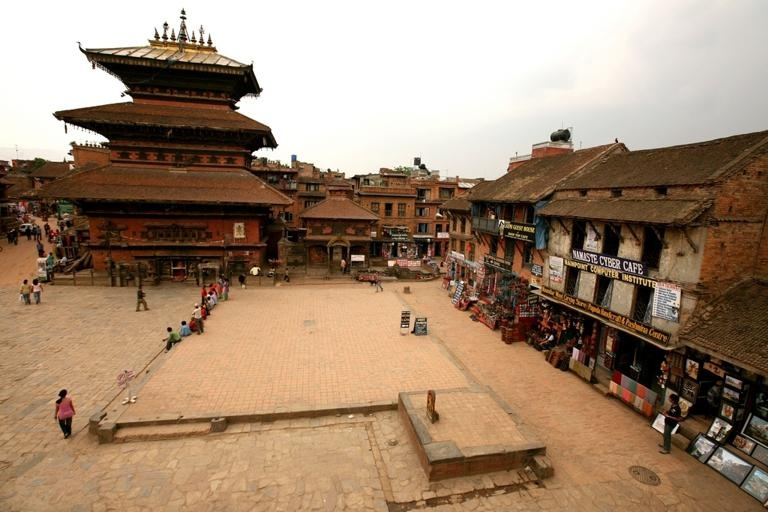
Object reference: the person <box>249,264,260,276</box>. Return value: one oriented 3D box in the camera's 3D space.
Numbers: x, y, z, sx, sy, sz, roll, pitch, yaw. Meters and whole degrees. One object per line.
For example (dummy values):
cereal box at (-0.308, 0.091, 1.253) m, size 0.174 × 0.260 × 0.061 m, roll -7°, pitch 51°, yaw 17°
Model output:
person at (-12.221, 1.343, 45.709) m, size 1.125 × 0.865 × 1.013 m, roll 1°, pitch -8°, yaw -19°

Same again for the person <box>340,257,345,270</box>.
person at (-4.293, 0.963, 51.192) m, size 0.556 × 1.050 × 1.162 m, roll 1°, pitch 7°, yaw -7°

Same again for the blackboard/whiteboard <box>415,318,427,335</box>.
blackboard/whiteboard at (2.720, 5.099, 34.566) m, size 0.996 × 1.173 × 0.717 m, roll 1°, pitch 8°, yaw -3°

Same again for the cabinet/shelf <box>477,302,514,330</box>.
cabinet/shelf at (8.527, 4.619, 36.787) m, size 1.666 × 0.604 × 2.163 m, roll -7°, pitch 15°, yaw -7°

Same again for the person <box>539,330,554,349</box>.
person at (11.187, 5.854, 32.726) m, size 0.602 × 1.221 × 0.884 m, roll -6°, pitch 11°, yaw -44°
